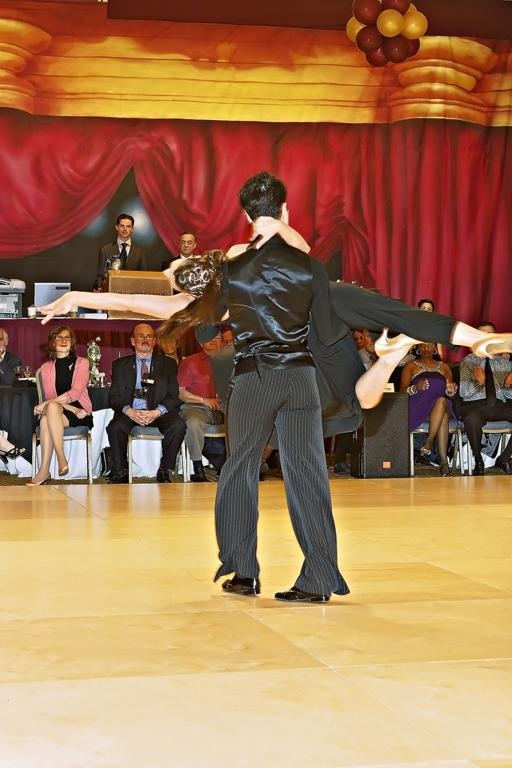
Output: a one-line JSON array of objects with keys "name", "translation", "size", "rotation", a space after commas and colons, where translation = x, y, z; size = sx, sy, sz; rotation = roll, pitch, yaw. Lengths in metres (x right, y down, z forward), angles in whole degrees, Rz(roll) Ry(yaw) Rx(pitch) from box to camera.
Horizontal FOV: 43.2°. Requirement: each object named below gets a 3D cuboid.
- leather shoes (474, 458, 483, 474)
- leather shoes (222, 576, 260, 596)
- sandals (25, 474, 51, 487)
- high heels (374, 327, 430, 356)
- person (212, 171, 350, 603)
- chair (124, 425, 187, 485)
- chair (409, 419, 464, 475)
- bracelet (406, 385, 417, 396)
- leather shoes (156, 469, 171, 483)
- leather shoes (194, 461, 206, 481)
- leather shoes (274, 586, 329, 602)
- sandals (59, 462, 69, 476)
[{"name": "leather shoes", "translation": [2.443, 0.902, 7.107], "size": [0.102, 0.179, 0.203], "rotation": [-1, -7, 17]}, {"name": "leather shoes", "translation": [-0.053, 0.763, 2.421], "size": [0.057, 0.063, 0.154], "rotation": [2, 1, -45]}, {"name": "sandals", "translation": [-2.080, 0.923, 6.169], "size": [0.217, 0.087, 0.112], "rotation": [6, -5, -33]}, {"name": "high heels", "translation": [0.543, -0.143, 2.296], "size": [0.220, 0.091, 0.067], "rotation": [-14, 5, 28]}, {"name": "person", "translation": [0.082, 0.021, 2.500], "size": [0.477, 1.518, 0.625], "rotation": [-1, 2, 3]}, {"name": "chair", "translation": [-1.083, 0.688, 6.785], "size": [0.722, 0.637, 0.588], "rotation": [1, -5, -18]}, {"name": "chair", "translation": [2.077, 0.706, 7.512], "size": [0.767, 0.675, 0.634], "rotation": [1, -9, -9]}, {"name": "bracelet", "translation": [1.743, 0.073, 7.244], "size": [0.109, 0.049, 0.138], "rotation": [-2, 7, 4]}, {"name": "leather shoes", "translation": [-0.917, 0.923, 6.484], "size": [0.147, 0.150, 0.330], "rotation": [1, -6, -8]}, {"name": "leather shoes", "translation": [-0.580, 0.885, 6.553], "size": [0.110, 0.196, 0.113], "rotation": [1, -6, -5]}, {"name": "leather shoes", "translation": [0.164, 0.761, 2.299], "size": [0.181, 0.073, 0.065], "rotation": [7, -21, 8]}, {"name": "sandals", "translation": [-1.922, 0.848, 6.464], "size": [0.085, 0.082, 0.230], "rotation": [-2, -15, -21]}]
